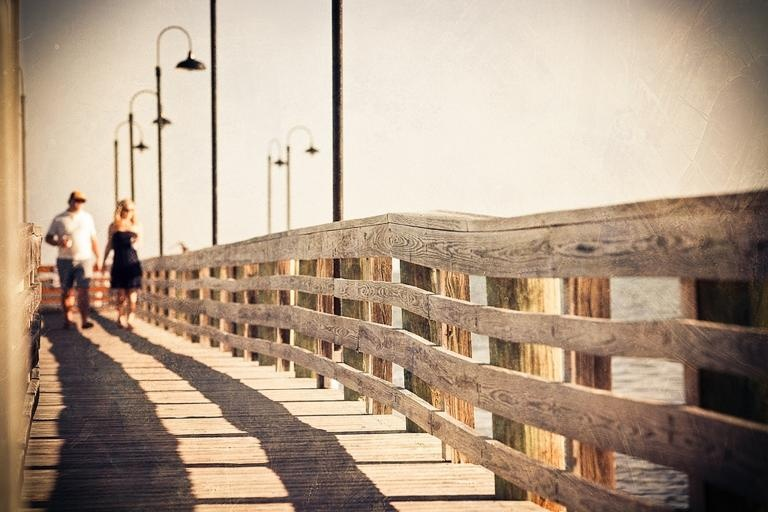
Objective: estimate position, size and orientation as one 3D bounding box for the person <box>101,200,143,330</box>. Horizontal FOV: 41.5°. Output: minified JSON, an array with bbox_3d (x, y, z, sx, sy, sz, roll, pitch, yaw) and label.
[{"bbox_3d":[-3.663,0.165,14.155,0.491,1.845,1.524,1,1,-14],"label":"person"}]
